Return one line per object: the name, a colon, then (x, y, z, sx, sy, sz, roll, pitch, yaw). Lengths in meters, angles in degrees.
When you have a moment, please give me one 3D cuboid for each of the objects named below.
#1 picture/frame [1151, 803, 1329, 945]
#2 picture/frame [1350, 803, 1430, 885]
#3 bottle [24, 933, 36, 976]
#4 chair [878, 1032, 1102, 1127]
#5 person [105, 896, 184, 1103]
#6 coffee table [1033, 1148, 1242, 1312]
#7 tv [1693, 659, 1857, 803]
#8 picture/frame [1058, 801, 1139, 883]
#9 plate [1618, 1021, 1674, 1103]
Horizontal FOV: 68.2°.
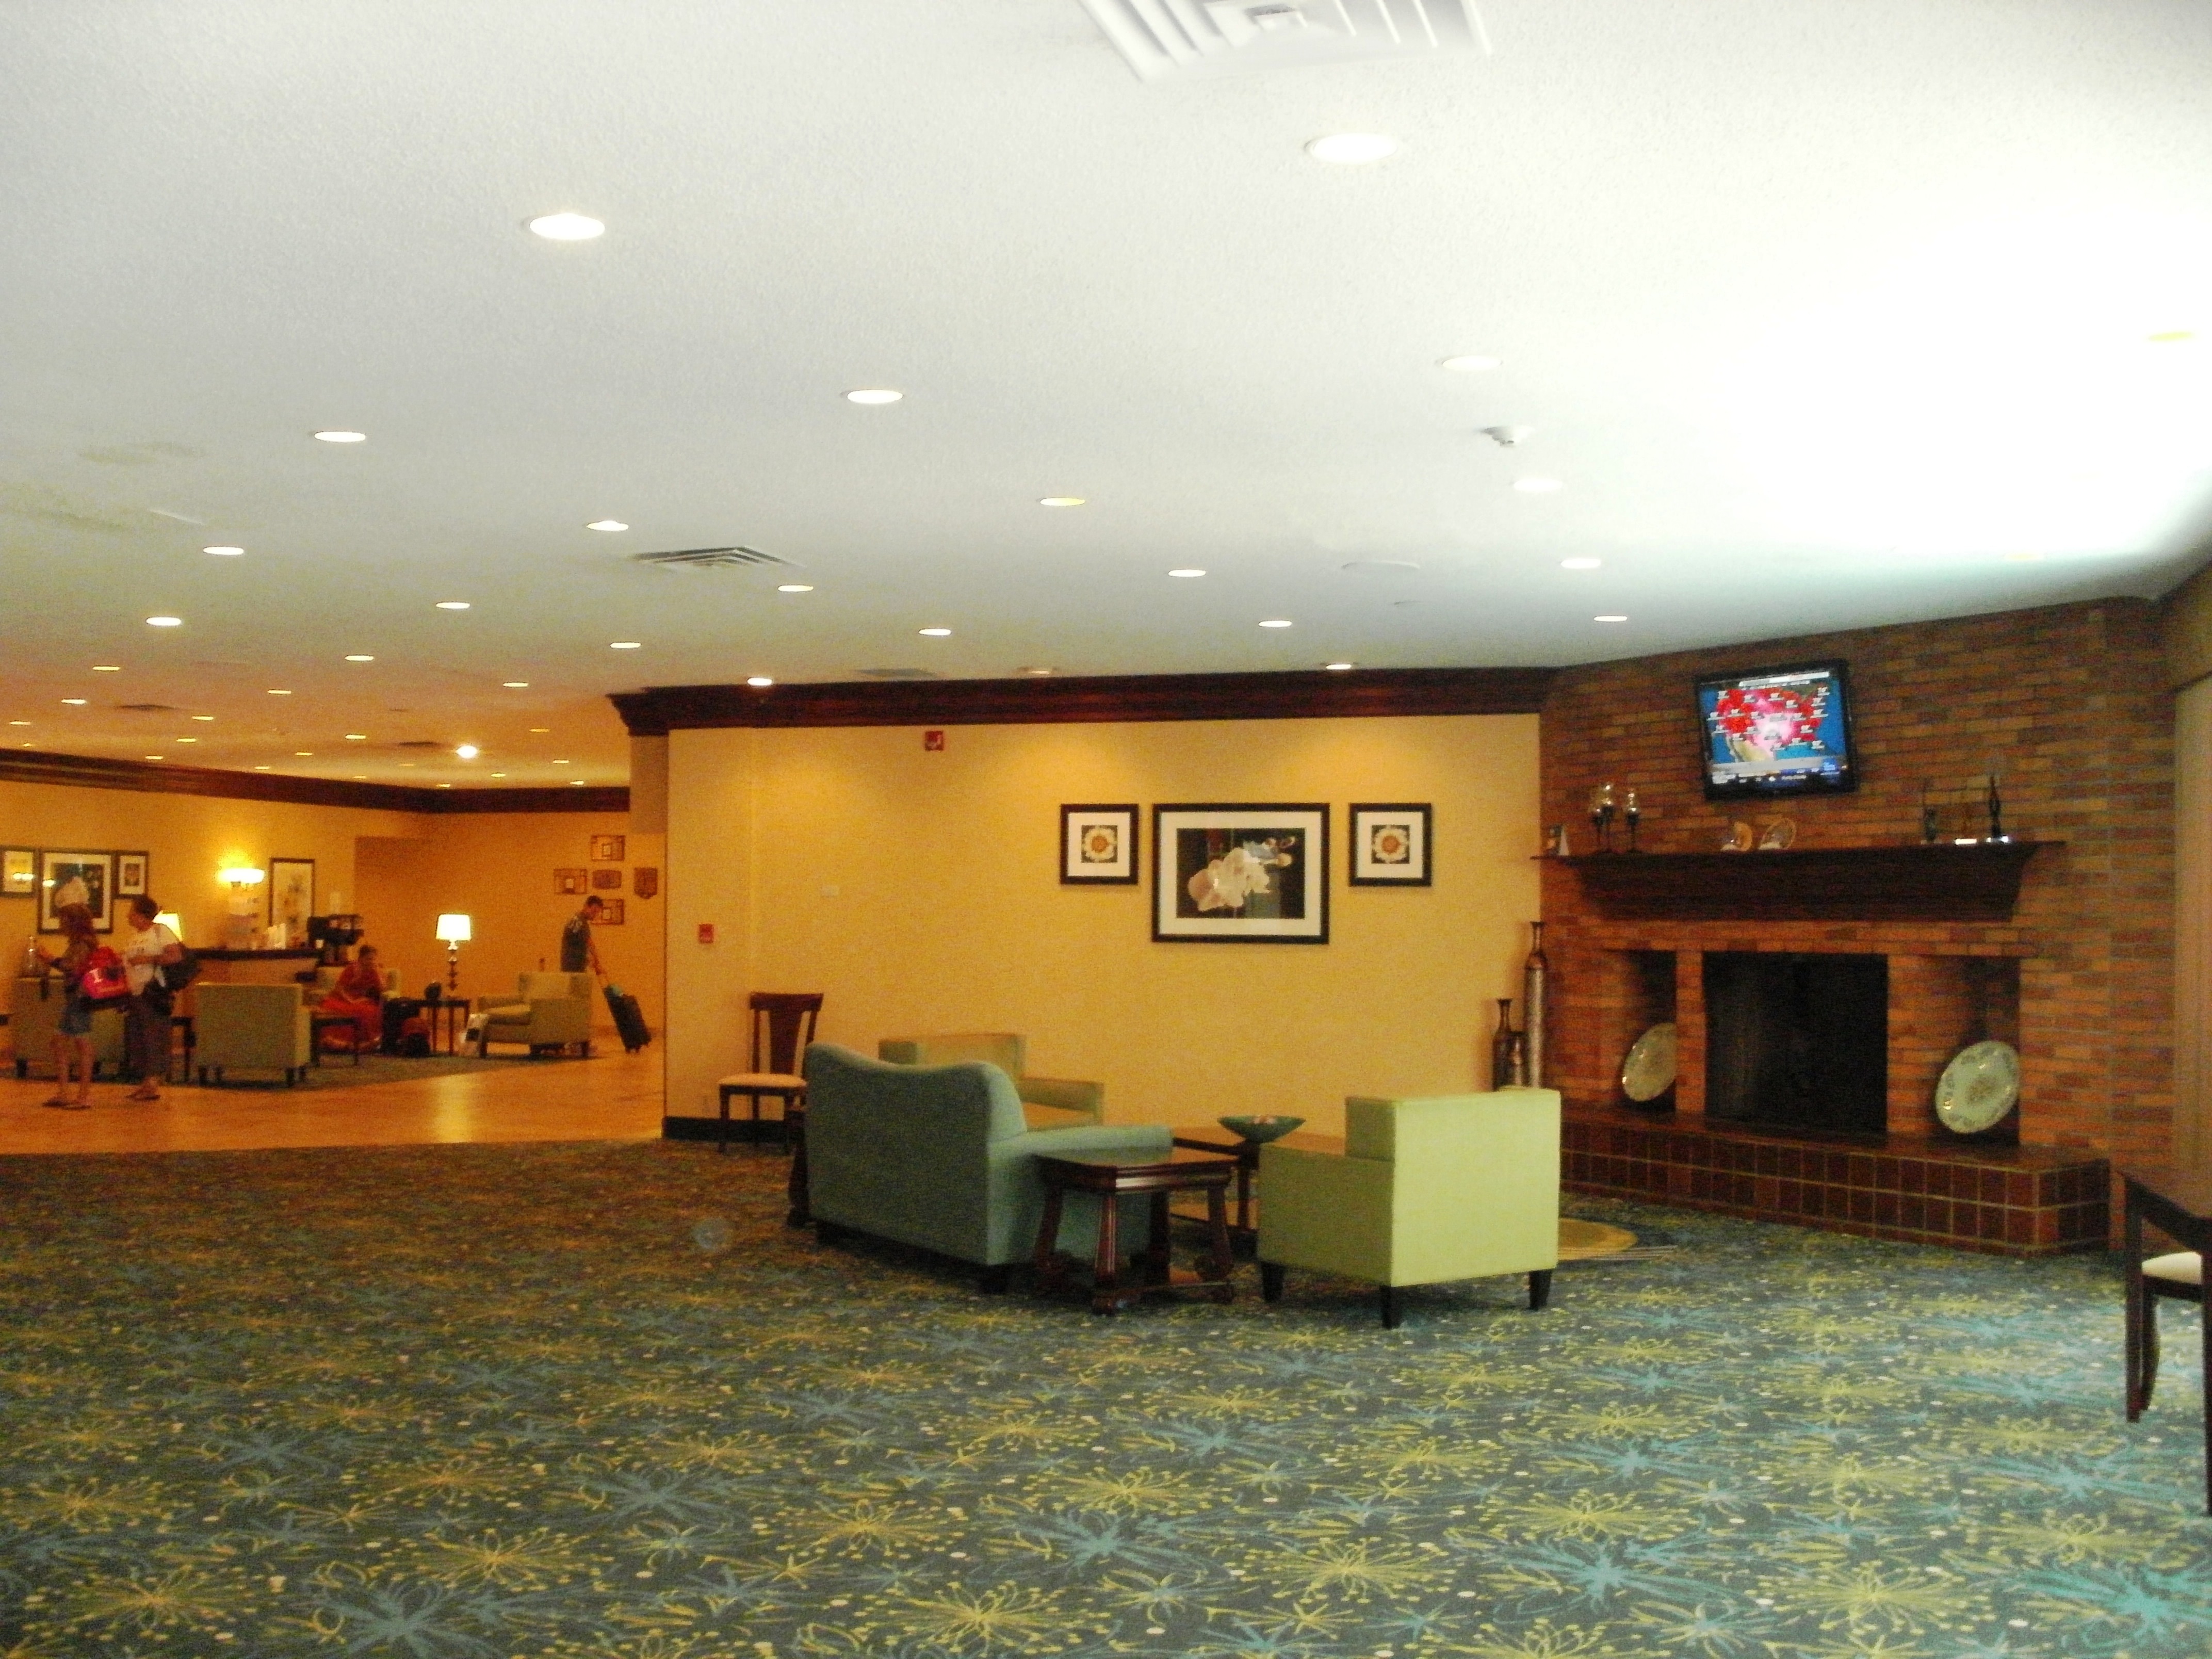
picture/frame: (1.026, 0.329, 11.709, 1.302, 0.811, 0.043, 0, -5, 8)
picture/frame: (2.026, 0.110, 11.471, 0.729, 0.576, 0.055, 0, 0, 15)
bottle: (-11.513, 1.307, 17.538, 0.123, 0.342, 0.199, 2, -3, -30)
chair: (-0.528, 1.417, 9.545, 0.796, 0.649, 0.791, 7, -12, -41)
person: (-8.376, 1.456, 14.385, 0.476, 1.698, 1.220, 2, -3, -29)
coffee table: (0.092, 1.732, 7.472, 0.901, 0.546, 0.740, 4, -6, -39)
tv: (4.114, -0.605, 9.939, 1.073, 0.808, 0.150, -2, -1, 44)
picture/frame: (-0.021, 0.093, 11.992, 0.749, 0.589, 0.048, 0, -4, 9)
plate: (3.596, 1.545, 10.828, 0.059, 0.450, 0.517, 29, -17, -39)
